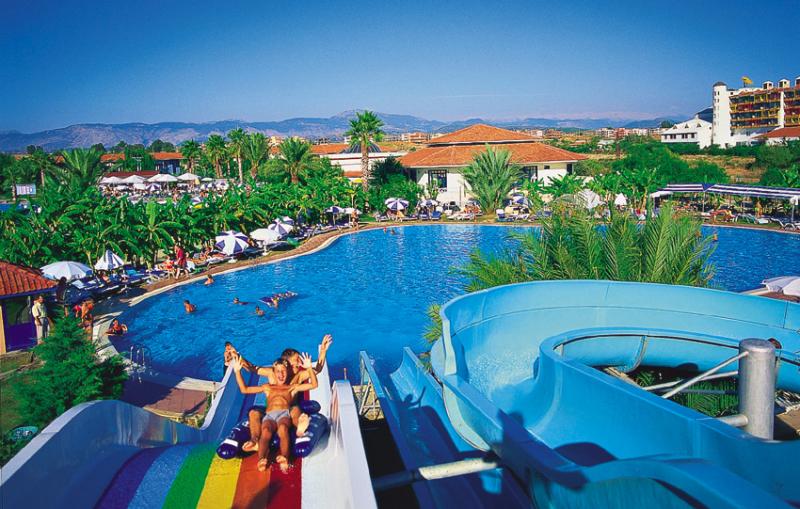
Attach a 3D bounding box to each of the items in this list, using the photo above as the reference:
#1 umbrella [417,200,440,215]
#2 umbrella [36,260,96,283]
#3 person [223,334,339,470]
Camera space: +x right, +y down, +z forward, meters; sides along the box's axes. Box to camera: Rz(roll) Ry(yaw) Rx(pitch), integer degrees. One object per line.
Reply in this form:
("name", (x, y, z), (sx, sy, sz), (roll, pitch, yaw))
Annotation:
("umbrella", (2.488, -3.926, 40.781), (1.497, 1.315, 1.521), (-1, 2, 44))
("umbrella", (-12.776, 0.685, 18.713), (1.330, 0.708, 1.340), (-10, 17, -18))
("person", (-1.664, 2.055, 7.211), (1.358, 1.169, 1.722), (-1, 4, 9))
